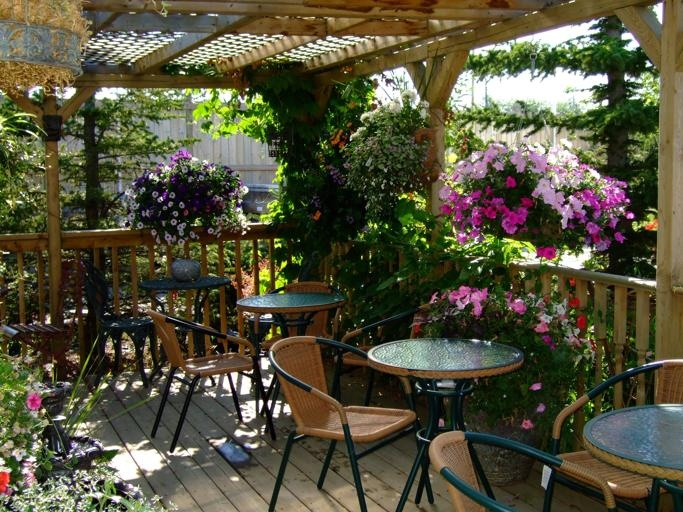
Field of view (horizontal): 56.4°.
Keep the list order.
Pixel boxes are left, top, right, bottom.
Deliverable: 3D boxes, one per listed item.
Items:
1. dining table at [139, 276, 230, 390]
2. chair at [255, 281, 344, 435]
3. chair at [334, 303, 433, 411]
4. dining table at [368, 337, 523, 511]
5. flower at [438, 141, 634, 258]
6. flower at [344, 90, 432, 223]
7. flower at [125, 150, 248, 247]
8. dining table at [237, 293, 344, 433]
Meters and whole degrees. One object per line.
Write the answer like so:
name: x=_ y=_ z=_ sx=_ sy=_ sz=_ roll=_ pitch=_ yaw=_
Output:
dining table: x=-1.148 y=0.547 z=5.093 sx=0.595 sy=0.643 sz=0.596 roll=-17 pitch=9 yaw=-41
chair: x=-0.387 y=0.688 z=4.549 sx=0.821 sy=0.958 sz=0.796 roll=-9 pitch=4 yaw=-17
chair: x=0.289 y=0.674 z=4.146 sx=0.651 sy=0.857 sz=0.676 roll=2 pitch=1 yaw=26
dining table: x=0.501 y=0.594 z=3.214 sx=0.811 sy=0.900 sz=0.840 roll=4 pitch=9 yaw=27
flower: x=1.176 y=-0.353 z=3.632 sx=0.798 sy=0.398 sz=0.787 roll=-6 pitch=19 yaw=-21
flower: x=0.330 y=-0.710 z=4.642 sx=0.599 sy=0.950 sz=0.380 roll=0 pitch=11 yaw=4
flower: x=-1.293 y=-0.643 z=5.528 sx=0.624 sy=0.478 sz=0.551 roll=-23 pitch=14 yaw=-15
dining table: x=-0.417 y=0.682 z=4.479 sx=0.779 sy=0.828 sz=0.756 roll=-3 pitch=5 yaw=-24
